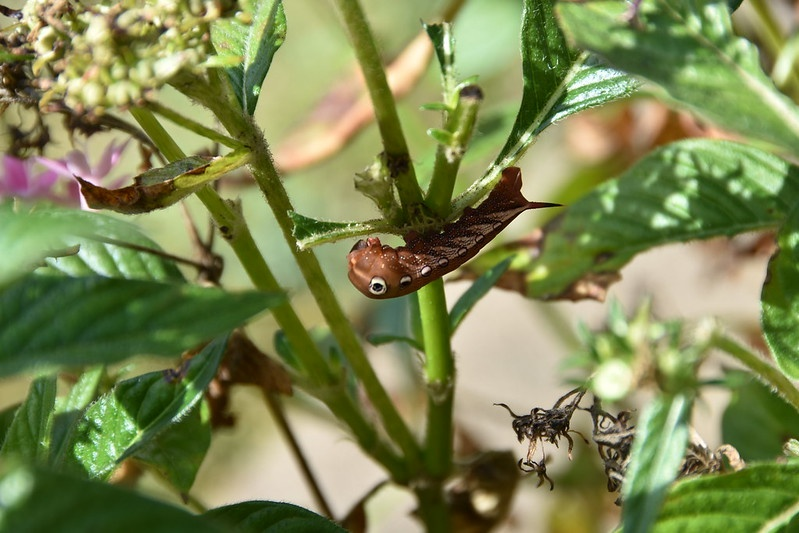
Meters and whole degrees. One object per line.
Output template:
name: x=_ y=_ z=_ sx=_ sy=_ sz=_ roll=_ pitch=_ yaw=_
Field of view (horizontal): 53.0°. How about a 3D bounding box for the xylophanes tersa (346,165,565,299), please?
xylophanes tersa: x=0.028 y=-0.013 z=0.528 sx=0.141 sy=0.054 sz=0.047 roll=-36 pitch=-18 yaw=34
